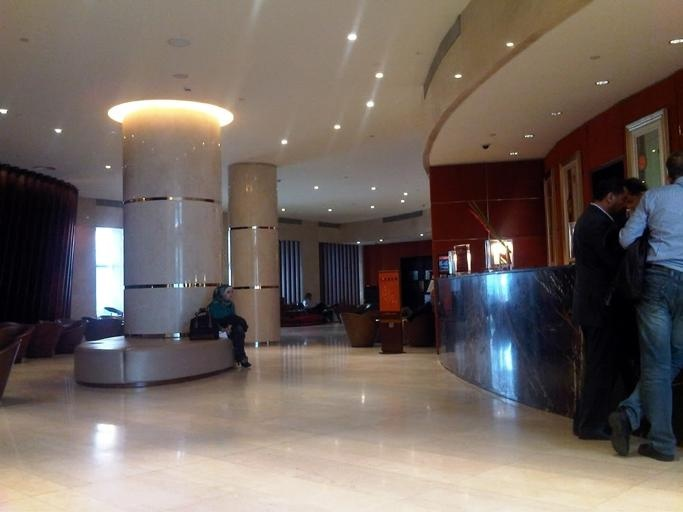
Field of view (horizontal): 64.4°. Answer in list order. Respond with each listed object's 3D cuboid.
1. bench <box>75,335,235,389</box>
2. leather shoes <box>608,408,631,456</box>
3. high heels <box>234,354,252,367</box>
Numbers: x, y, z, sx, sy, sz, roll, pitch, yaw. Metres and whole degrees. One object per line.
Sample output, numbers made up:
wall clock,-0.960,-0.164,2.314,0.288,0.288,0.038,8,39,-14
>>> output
bench,-2.724,1.546,7.988,2.147,0.606,1.018,-2,-4,-29
leather shoes,1.987,1.268,3.864,0.111,0.341,0.230,-8,-1,35
high heels,-1.688,1.786,9.161,0.134,0.190,0.391,-1,-1,-43
